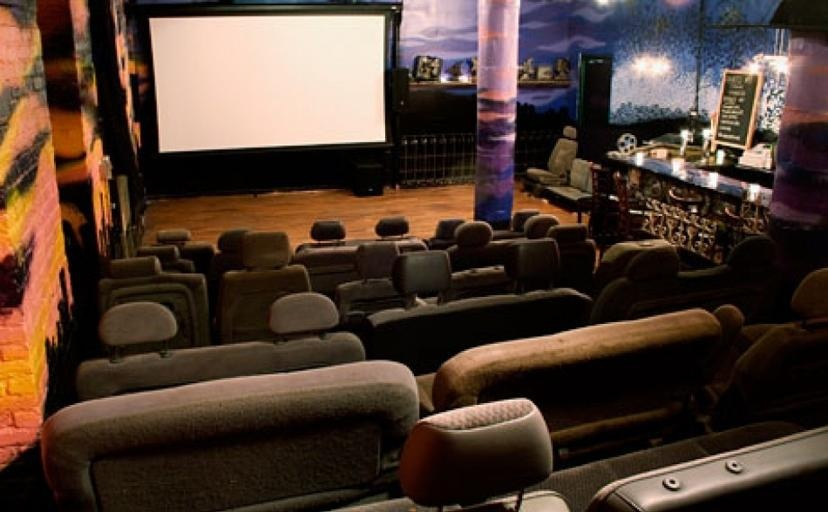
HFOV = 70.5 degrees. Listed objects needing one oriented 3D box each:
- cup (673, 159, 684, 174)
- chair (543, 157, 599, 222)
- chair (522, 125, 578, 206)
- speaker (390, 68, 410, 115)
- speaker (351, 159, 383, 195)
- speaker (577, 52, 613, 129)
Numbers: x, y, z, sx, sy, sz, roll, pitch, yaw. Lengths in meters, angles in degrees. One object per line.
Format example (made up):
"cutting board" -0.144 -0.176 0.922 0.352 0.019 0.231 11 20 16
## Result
"cup" 3.216 -1.065 7.072 0.117 0.116 0.206 3 21 6
"chair" 2.543 -1.026 9.392 0.585 0.686 1.344 -3 21 -5
"chair" 2.539 -1.770 10.867 0.993 1.180 0.949 -11 21 -28
"speaker" -0.235 -3.040 10.837 0.284 0.743 0.119 -3 20 -9
"speaker" -0.784 -1.367 11.142 0.521 0.550 0.907 -1 1 2
"speaker" 3.703 -3.297 11.880 0.695 1.406 0.293 7 20 17
